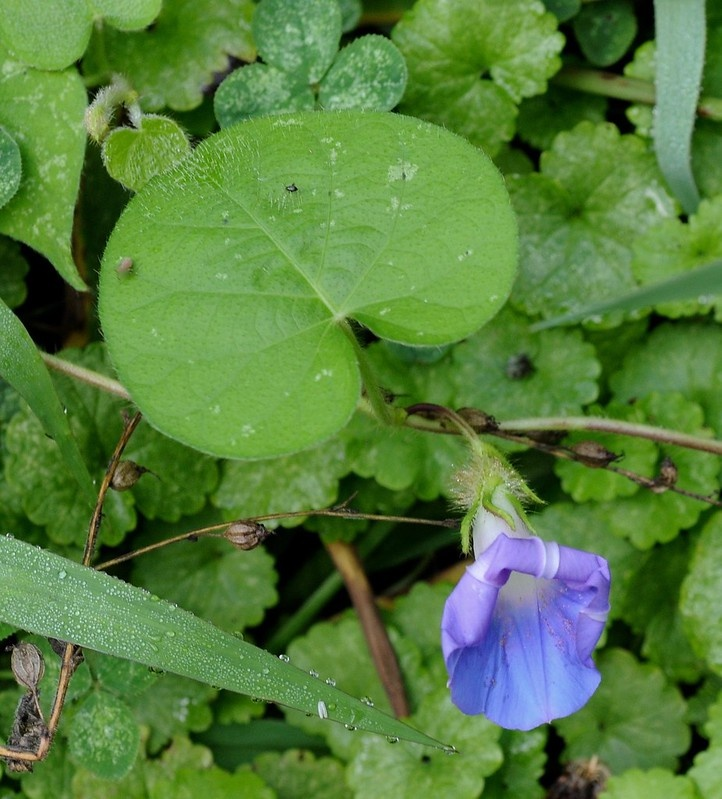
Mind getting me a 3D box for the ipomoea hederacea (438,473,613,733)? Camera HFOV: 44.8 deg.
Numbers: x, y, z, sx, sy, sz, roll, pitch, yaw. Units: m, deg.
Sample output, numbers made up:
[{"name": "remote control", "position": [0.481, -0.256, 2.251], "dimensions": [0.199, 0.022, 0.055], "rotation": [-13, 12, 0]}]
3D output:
[{"name": "ipomoea hederacea", "position": [0.186, 0.229, 1.043], "dimensions": [0.194, 0.134, 0.284], "rotation": [-8, 63, 3]}]
